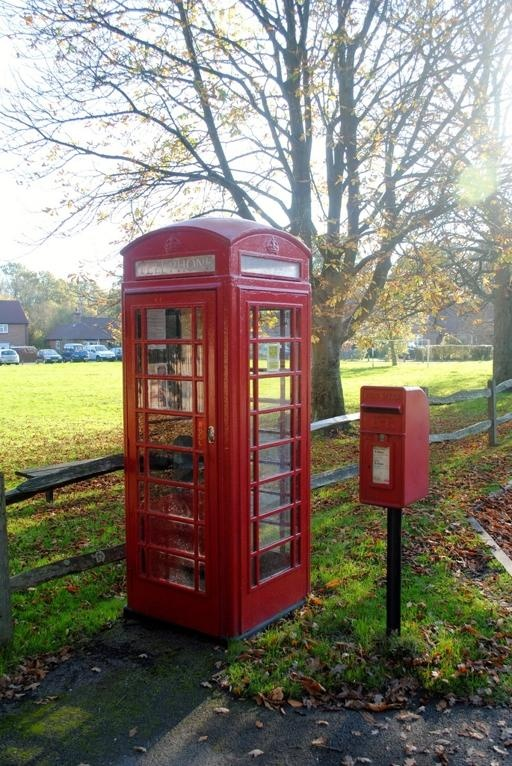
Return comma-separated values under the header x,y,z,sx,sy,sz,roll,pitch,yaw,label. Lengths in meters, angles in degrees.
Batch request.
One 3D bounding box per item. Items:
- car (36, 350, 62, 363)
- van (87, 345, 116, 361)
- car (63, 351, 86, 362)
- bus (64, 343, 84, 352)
x,y,z,sx,sy,sz,roll,pitch,yaw,label
-20.459,-2.572,57.071,1.307,1.225,2.527,0,-3,-32,car
-16.326,-3.144,60.102,2.841,1.553,1.672,-1,1,43,van
-18.676,-2.733,59.805,1.376,1.140,2.263,-1,-3,-24,car
-20.730,-3.987,65.570,1.756,1.356,2.489,1,10,4,bus
